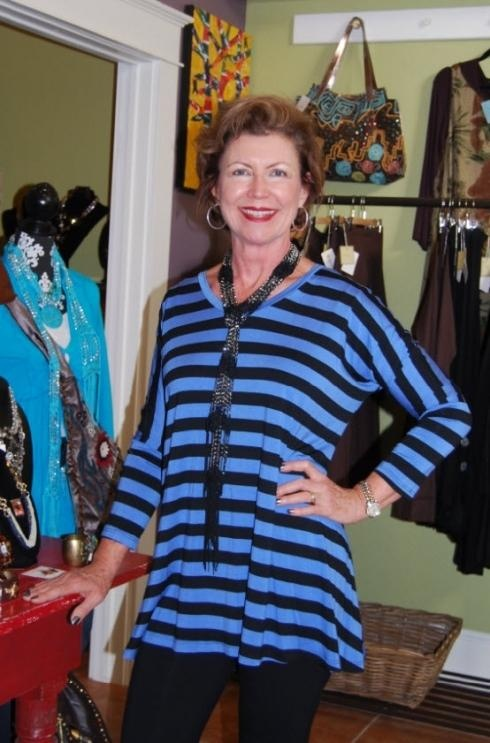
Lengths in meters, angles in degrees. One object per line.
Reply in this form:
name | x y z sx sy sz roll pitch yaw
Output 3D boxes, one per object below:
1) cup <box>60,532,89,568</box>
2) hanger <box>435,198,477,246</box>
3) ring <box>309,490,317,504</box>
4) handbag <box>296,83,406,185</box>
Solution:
cup | -0.289 0.302 1.101 0.061 0.054 0.037 3 -8 -12
hanger | 0.749 -0.528 2.310 0.184 0.207 0.035 5 10 13
ring | 0.094 0.178 0.918 0.010 0.018 0.006 -2 19 -10
handbag | 0.406 -1.006 2.575 0.499 0.459 0.155 16 43 31
